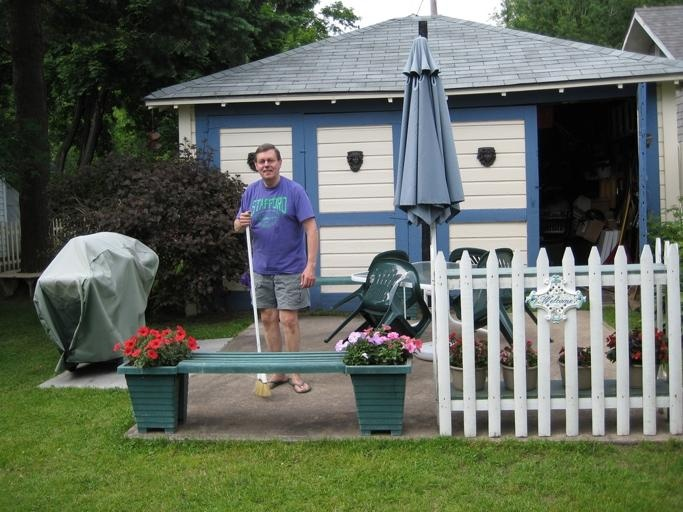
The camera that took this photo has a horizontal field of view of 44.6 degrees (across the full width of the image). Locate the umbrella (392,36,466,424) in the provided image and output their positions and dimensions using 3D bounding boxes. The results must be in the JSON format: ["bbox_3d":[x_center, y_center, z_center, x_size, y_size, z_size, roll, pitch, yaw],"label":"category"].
[{"bbox_3d":[0.851,-1.072,8.149,0.638,2.161,0.443,3,6,41],"label":"umbrella"}]

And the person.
[{"bbox_3d":[-0.689,-0.077,8.703,0.850,2.153,0.456,0,4,3],"label":"person"}]

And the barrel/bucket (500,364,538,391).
[{"bbox_3d":[1.694,1.130,7.879,0.231,0.168,0.246,-1,2,0],"label":"barrel/bucket"}]

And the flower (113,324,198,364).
[{"bbox_3d":[-1.921,0.904,8.422,0.489,0.233,0.525,1,4,14],"label":"flower"}]

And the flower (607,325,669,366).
[{"bbox_3d":[2.842,0.868,7.969,0.399,0.337,0.439,-3,0,24],"label":"flower"}]

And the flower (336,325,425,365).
[{"bbox_3d":[0.416,0.895,8.272,0.465,0.247,0.490,-1,3,-8],"label":"flower"}]

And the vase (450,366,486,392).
[{"bbox_3d":[1.208,1.160,7.911,0.245,0.172,0.262,-1,2,-1],"label":"vase"}]

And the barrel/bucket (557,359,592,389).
[{"bbox_3d":[2.212,1.131,7.862,0.282,0.258,0.361,1,5,13],"label":"barrel/bucket"}]

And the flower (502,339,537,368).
[{"bbox_3d":[1.701,0.932,7.956,0.331,0.228,0.464,0,5,11],"label":"flower"}]

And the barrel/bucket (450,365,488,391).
[{"bbox_3d":[1.211,1.164,7.901,0.242,0.171,0.258,-1,2,0],"label":"barrel/bucket"}]

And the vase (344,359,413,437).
[{"bbox_3d":[0.353,1.268,8.001,0.694,0.751,0.595,-1,1,2],"label":"vase"}]

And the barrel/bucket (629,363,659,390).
[{"bbox_3d":[2.819,1.114,7.759,0.212,0.190,0.234,0,-4,-1],"label":"barrel/bucket"}]

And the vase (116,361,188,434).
[{"bbox_3d":[-1.853,1.292,8.149,0.691,0.665,0.592,0,0,1],"label":"vase"}]

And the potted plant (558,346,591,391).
[{"bbox_3d":[2.248,1.058,7.915,0.335,0.277,0.355,-1,4,19],"label":"potted plant"}]

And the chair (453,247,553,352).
[{"bbox_3d":[1.992,0.458,9.970,0.986,1.344,0.933,1,13,37],"label":"chair"}]

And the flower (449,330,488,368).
[{"bbox_3d":[1.213,0.904,8.054,0.301,0.235,0.322,-6,-11,3],"label":"flower"}]

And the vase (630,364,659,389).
[{"bbox_3d":[2.823,1.138,7.784,0.212,0.177,0.227,0,-4,-1],"label":"vase"}]

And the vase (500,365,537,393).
[{"bbox_3d":[1.689,1.152,7.865,0.231,0.167,0.245,-1,1,20],"label":"vase"}]
